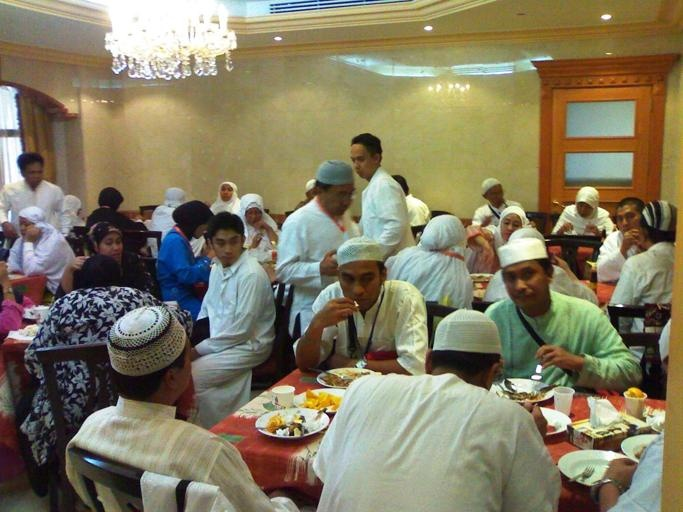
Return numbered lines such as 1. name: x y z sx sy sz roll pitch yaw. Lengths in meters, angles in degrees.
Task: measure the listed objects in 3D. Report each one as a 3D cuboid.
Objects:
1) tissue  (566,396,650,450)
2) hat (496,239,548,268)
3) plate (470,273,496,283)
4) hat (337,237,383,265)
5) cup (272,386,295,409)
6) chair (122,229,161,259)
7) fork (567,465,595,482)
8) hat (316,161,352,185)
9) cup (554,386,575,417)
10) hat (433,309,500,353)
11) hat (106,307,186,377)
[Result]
1. tissue : 0.888 0.529 1.961 0.185 0.116 0.187 -8 10 -32
2. hat: 0.803 -0.014 2.537 0.201 0.130 0.173 0 7 0
3. plate: 1.112 0.175 4.555 0.116 0.027 0.115 -4 8 -16
4. hat: 0.096 -0.044 2.580 0.145 0.094 0.145 6 11 31
5. cup: -0.227 0.547 2.214 0.080 0.057 0.064 2 11 9
6. chair: -1.911 -0.113 5.435 0.205 0.362 0.235 3 34 -1
7. fork: 0.746 0.678 1.764 0.108 0.031 0.038 -6 10 -41
8. hat: -0.041 -0.502 3.478 0.168 0.097 0.167 1 6 1
9. cup: 0.805 0.530 2.082 0.086 0.089 0.087 -1 -2 0
10. hat: 0.399 0.215 1.794 0.153 0.101 0.151 1 2 -42
11. hat: -0.578 0.268 1.736 0.198 0.102 0.199 26 47 32
